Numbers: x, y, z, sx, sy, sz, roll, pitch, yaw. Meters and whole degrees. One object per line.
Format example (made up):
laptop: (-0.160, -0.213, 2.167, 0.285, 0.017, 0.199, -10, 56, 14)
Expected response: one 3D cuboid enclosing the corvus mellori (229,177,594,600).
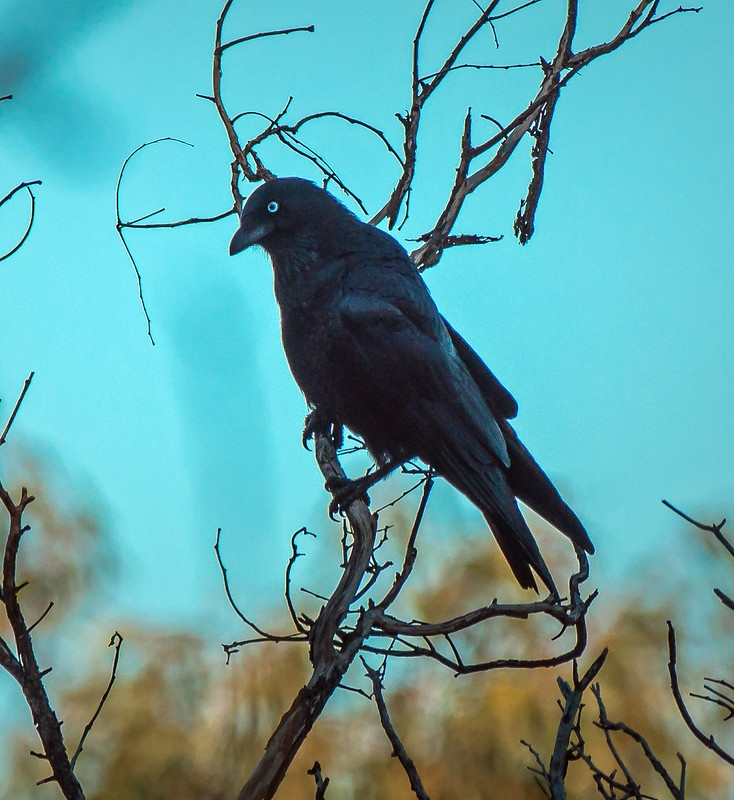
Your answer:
corvus mellori: (0.127, 0.083, 7.398, 1.654, 2.345, 0.600, 18, -52, -18)
